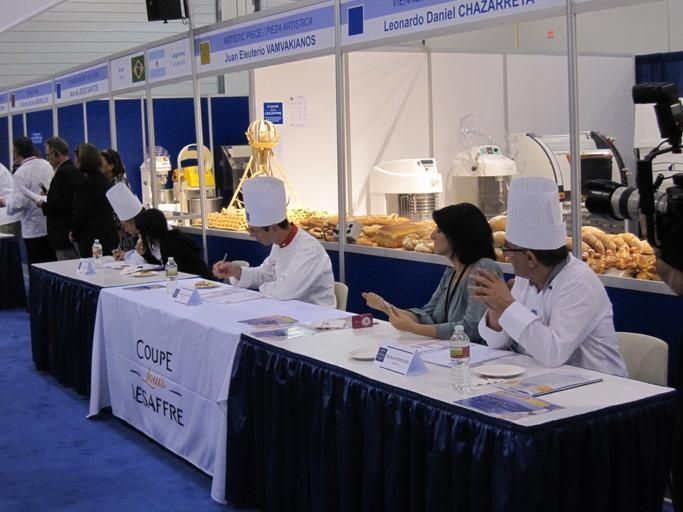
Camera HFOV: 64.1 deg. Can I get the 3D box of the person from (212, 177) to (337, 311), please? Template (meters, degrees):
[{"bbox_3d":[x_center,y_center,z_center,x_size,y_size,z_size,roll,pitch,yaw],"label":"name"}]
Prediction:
[{"bbox_3d":[-0.441,0.023,3.639,0.702,1.085,0.610,-5,3,16],"label":"person"}]

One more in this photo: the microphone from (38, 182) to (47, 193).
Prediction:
[{"bbox_3d":[-3.751,-0.855,6.848,0.079,0.077,0.302,-30,27,-13],"label":"microphone"}]

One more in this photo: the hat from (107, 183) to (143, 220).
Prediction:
[{"bbox_3d":[-1.871,-0.465,4.716,0.276,0.343,0.259,-4,8,-12],"label":"hat"}]

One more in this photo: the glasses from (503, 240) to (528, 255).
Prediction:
[{"bbox_3d":[0.661,-0.021,2.081,0.058,0.018,0.061,8,7,-13],"label":"glasses"}]

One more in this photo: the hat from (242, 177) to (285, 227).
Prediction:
[{"bbox_3d":[-0.496,-0.346,3.503,0.268,0.318,0.275,-3,1,-11],"label":"hat"}]

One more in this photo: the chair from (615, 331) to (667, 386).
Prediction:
[{"bbox_3d":[1.194,0.387,2.188,0.188,0.249,0.171,2,2,-41],"label":"chair"}]

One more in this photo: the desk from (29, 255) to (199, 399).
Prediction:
[{"bbox_3d":[-1.917,0.465,4.324,0.819,0.722,1.290,-5,10,-37],"label":"desk"}]

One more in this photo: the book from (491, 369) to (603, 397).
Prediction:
[{"bbox_3d":[0.680,0.401,1.855,0.384,0.033,0.304,-4,-1,-30],"label":"book"}]

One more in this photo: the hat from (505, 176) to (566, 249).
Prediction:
[{"bbox_3d":[0.735,-0.171,2.082,0.210,0.255,0.215,13,30,36],"label":"hat"}]
